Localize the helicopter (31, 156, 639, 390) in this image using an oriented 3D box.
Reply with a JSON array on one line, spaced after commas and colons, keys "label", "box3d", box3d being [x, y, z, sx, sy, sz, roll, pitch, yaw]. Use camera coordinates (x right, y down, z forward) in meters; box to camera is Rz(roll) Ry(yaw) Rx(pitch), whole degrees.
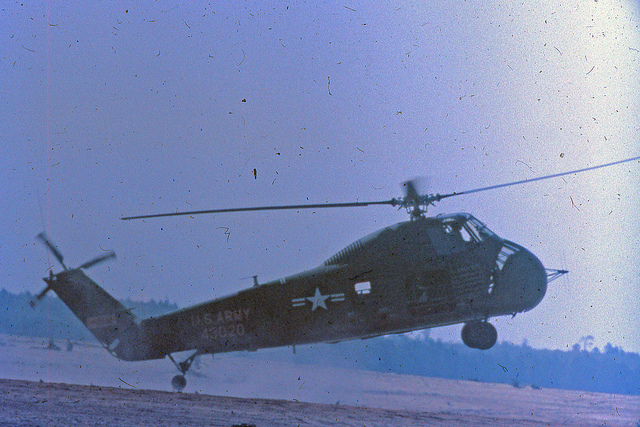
[{"label": "helicopter", "box3d": [0.087, 1.311, 20.517, 6.013, 2.095, 5.425, -12, 9, 3]}]
